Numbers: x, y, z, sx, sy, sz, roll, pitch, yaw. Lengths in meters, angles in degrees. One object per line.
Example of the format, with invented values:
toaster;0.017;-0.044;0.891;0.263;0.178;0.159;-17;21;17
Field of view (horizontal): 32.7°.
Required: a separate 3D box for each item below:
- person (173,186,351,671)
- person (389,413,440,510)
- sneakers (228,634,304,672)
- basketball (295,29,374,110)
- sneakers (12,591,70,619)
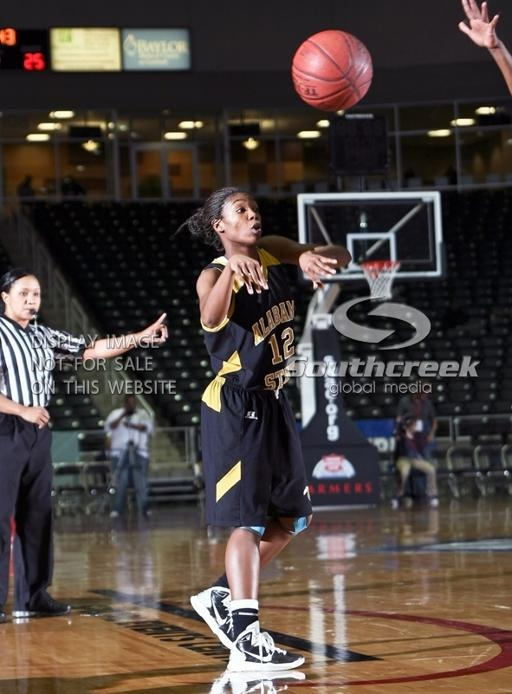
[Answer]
person;0.033;0.211;2.627;0.520;1.069;0.580;-2;-1;4
person;1.631;1.176;9.178;0.455;0.783;0.942;-2;-1;8
sneakers;0.014;0.856;2.464;0.263;0.104;0.083;1;-8;-5
basketball;0.504;-1.813;5.700;0.505;0.412;0.326;-1;-1;-2
sneakers;-0.849;1.032;3.505;0.276;0.091;0.081;-2;-6;-5
